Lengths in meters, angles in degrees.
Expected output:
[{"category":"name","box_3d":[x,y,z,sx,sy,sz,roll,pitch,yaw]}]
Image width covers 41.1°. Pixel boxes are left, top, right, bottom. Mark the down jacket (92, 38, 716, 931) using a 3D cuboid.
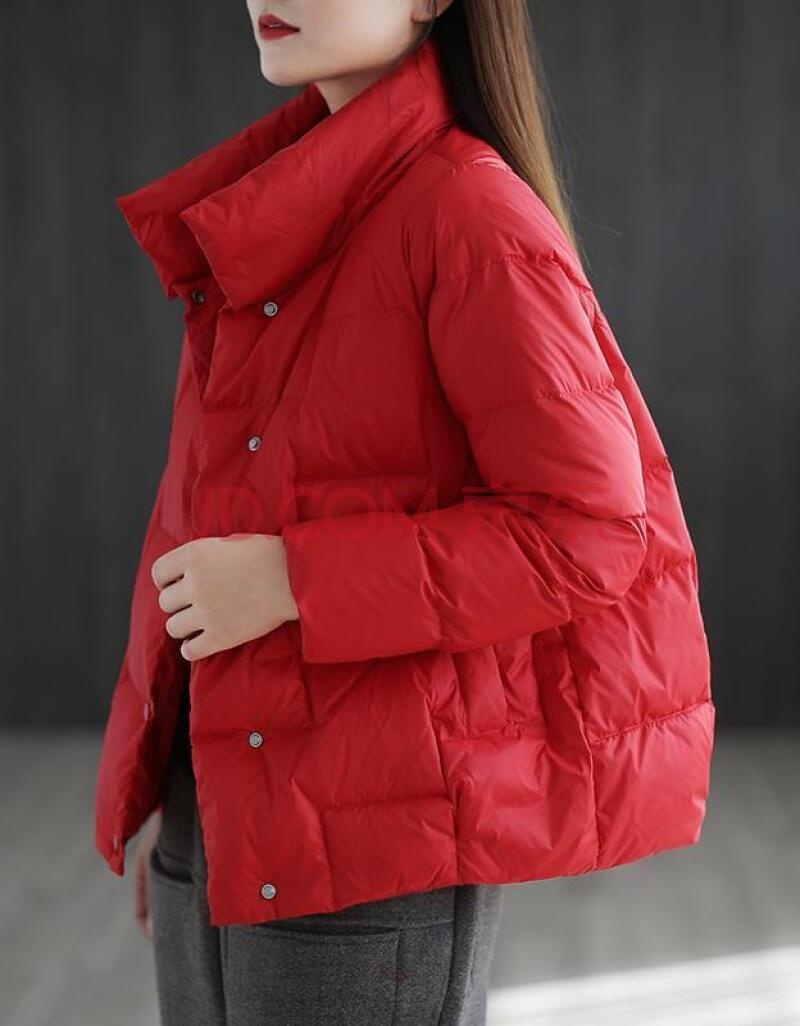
[{"category":"down jacket","box_3d":[-0.011,-0.051,0.964,0.474,0.635,0.598,-3,10,-36]}]
